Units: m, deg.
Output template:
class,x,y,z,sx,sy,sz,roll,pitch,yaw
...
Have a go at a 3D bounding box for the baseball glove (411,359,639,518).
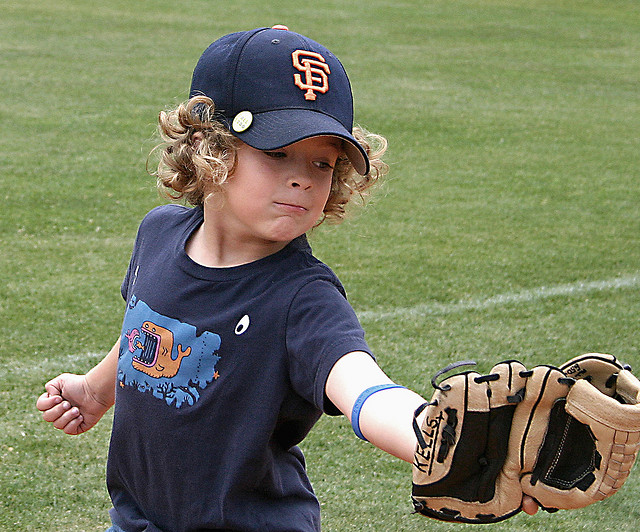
class,x,y,z,sx,sy,sz,roll,pitch,yaw
baseball glove,0.489,0.435,2.741,0.539,0.334,0.197,-1,17,2
